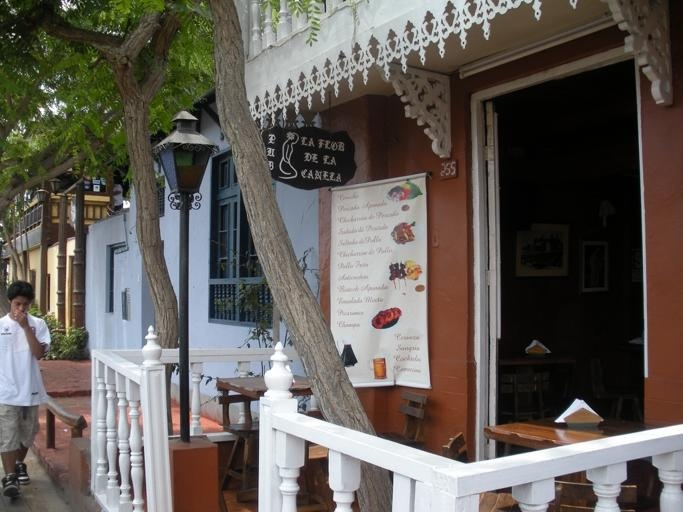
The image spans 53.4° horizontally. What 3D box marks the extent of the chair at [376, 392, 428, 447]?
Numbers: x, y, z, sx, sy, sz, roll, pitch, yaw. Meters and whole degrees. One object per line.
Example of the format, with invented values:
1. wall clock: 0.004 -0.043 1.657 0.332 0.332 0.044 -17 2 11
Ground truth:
1. chair: 0.633 1.694 7.005 0.487 0.569 0.558 -2 0 -2

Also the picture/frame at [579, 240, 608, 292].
1. picture/frame: 3.883 0.141 10.436 0.473 0.794 0.047 1 -2 -14

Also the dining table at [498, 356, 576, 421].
1. dining table: 2.536 1.713 8.866 0.751 0.872 1.662 -3 -6 40

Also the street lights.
1. street lights: -1.356 0.086 5.920 0.433 2.863 0.713 3 -5 -30
